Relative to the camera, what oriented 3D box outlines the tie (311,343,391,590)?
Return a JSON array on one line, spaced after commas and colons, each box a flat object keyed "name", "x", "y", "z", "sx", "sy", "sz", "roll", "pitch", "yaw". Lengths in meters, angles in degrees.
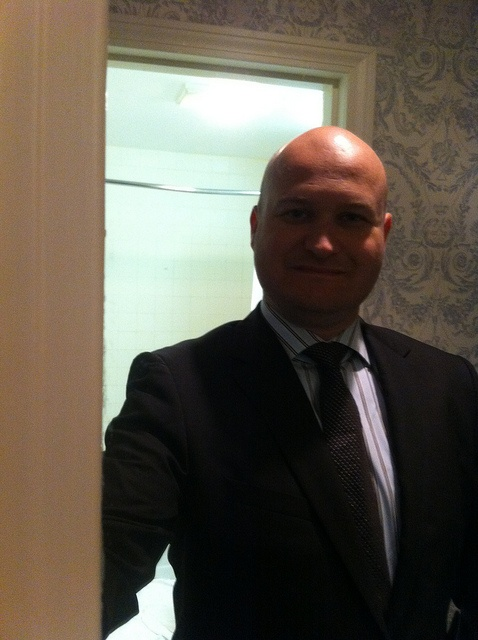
[{"name": "tie", "x": 0.099, "y": 0.122, "z": 0.593, "sx": 0.044, "sy": 0.222, "sz": 0.029, "roll": -2, "pitch": -38, "yaw": -3}]
